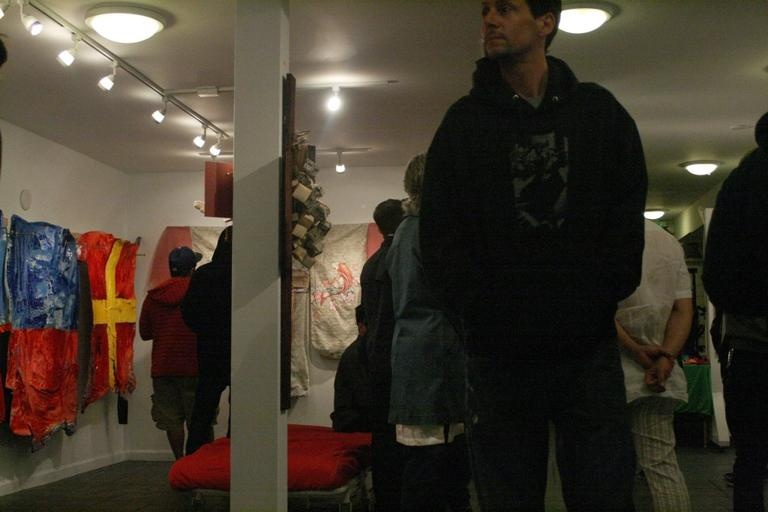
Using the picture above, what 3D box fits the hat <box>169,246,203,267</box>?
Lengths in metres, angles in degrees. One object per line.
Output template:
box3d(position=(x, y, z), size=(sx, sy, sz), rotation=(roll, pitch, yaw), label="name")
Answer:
box3d(position=(-1.518, 0.036, 5.165), size=(0.206, 0.152, 0.288), rotation=(4, 16, 16), label="hat")

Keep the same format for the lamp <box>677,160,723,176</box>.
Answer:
box3d(position=(1.591, -0.445, 3.373), size=(0.201, 0.062, 0.205), rotation=(0, -2, 37), label="lamp")

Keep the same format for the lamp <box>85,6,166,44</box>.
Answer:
box3d(position=(-1.517, -1.358, 3.891), size=(0.419, 0.138, 0.233), rotation=(-1, -9, 15), label="lamp")

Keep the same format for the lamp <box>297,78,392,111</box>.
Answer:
box3d(position=(-0.211, -1.103, 4.832), size=(0.727, 0.163, 0.452), rotation=(-1, -8, 10), label="lamp")

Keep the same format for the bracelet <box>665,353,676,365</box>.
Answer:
box3d(position=(1.270, 0.455, 2.961), size=(0.051, 0.037, 0.035), rotation=(0, -7, 10), label="bracelet")
